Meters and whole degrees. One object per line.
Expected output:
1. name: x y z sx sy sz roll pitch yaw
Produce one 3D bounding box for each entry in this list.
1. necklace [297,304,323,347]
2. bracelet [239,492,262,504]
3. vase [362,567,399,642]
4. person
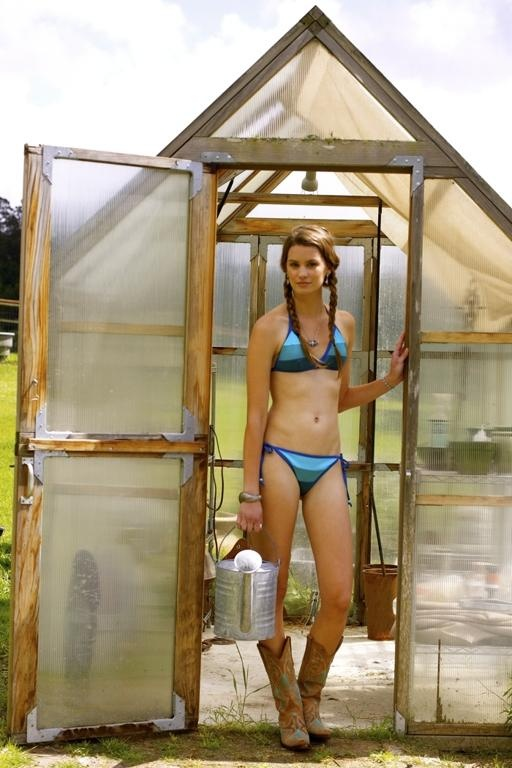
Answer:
1. necklace: 0.196 -0.197 3.139 0.080 0.141 0.037 4 -21 -20
2. bracelet: -0.023 0.384 2.982 0.048 0.027 0.044 4 -3 -17
3. vase: 0.696 1.233 4.917 0.249 0.368 0.247 -5 -12 25
4. person: 0.197 0.349 3.132 0.595 1.792 0.277 5 -5 -25
